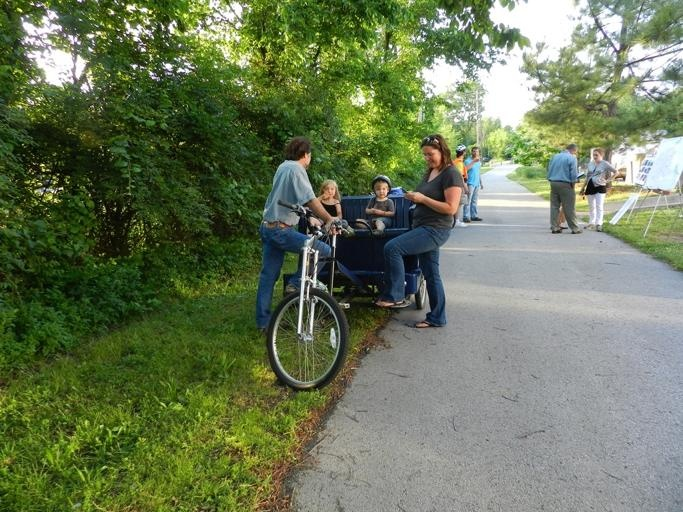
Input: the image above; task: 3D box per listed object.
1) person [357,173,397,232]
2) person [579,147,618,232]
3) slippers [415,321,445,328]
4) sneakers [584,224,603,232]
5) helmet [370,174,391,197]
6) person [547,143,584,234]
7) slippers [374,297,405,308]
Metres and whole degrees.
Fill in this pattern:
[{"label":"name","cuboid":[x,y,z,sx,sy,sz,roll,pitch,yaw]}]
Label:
[{"label":"person","cuboid":[0.496,-0.758,6.937,0.497,0.809,0.735,7,14,15]},{"label":"person","cuboid":[6.887,-1.779,12.959,0.700,2.098,1.397,4,12,28]},{"label":"slippers","cuboid":[1.156,0.911,6.322,0.347,0.102,0.143,4,-10,0]},{"label":"sneakers","cuboid":[6.752,-0.735,12.927,0.157,0.223,0.489,0,9,-3]},{"label":"helmet","cuboid":[0.602,-1.021,7.153,0.249,0.378,0.284,-1,34,4]},{"label":"person","cuboid":[5.758,-1.729,12.463,0.841,2.235,1.014,3,12,23]},{"label":"slippers","cuboid":[0.605,0.601,5.940,0.374,0.162,0.137,6,-6,-15]}]
